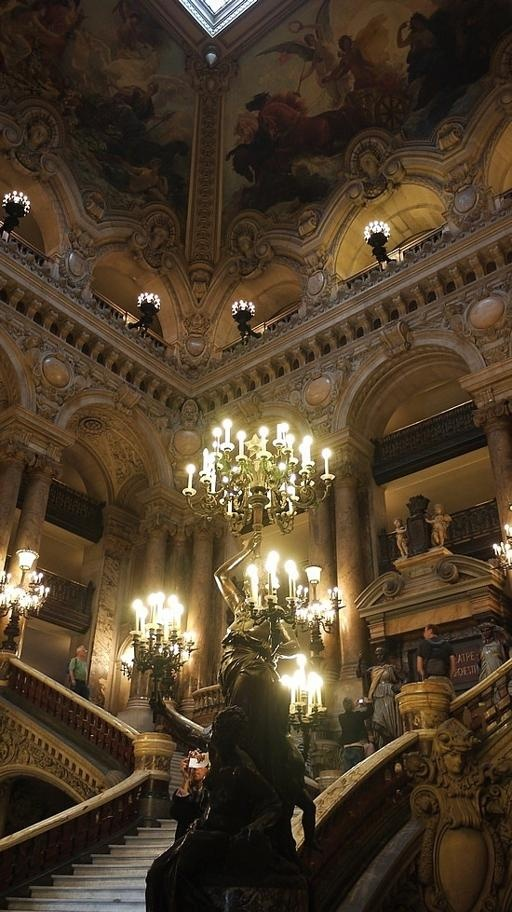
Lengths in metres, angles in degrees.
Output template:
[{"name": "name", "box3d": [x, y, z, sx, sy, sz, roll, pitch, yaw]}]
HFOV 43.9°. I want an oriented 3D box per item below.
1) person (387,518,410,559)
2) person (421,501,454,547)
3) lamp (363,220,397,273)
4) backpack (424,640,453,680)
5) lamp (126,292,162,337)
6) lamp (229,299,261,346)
[{"name": "person", "box3d": [2.566, 1.504, 11.346, 0.264, 0.910, 1.094, -1, -22, 11]}, {"name": "person", "box3d": [3.124, 1.206, 10.976, 0.396, 1.015, 1.079, -3, -23, 15]}, {"name": "lamp", "box3d": [2.615, -4.625, 13.557, 0.613, 1.578, 0.723, -1, -22, 11]}, {"name": "backpack", "box3d": [1.516, 1.684, 5.342, 0.241, 0.356, 0.487, -3, -23, 15]}, {"name": "lamp", "box3d": [-2.752, -3.427, 15.258, 0.655, 1.324, 0.490, 17, -25, -31]}, {"name": "lamp", "box3d": [-0.206, -3.381, 15.395, 0.568, 1.262, 0.703, -5, -23, 19]}]
